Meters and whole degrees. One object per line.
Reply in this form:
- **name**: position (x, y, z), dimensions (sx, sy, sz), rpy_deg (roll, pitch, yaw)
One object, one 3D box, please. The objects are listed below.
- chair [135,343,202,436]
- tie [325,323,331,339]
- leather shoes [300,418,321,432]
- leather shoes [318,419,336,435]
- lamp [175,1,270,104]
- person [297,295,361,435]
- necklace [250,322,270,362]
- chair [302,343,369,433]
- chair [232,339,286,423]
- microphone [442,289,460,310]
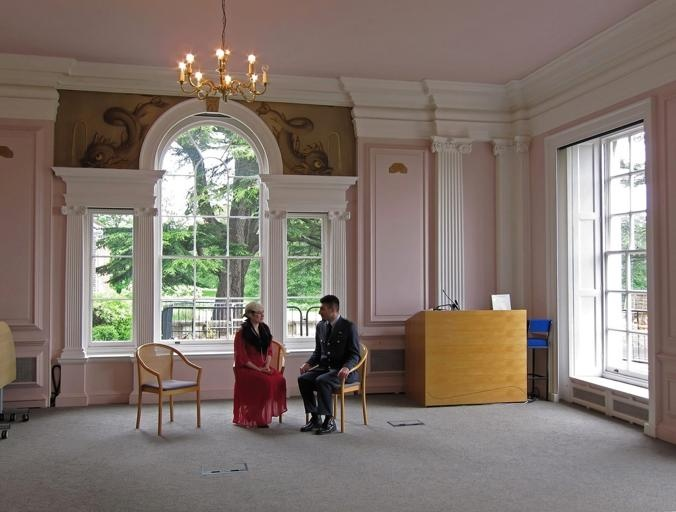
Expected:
- **chair**: position (-1.946, 1.456, 6.440), dimensions (0.556, 0.964, 0.628), rpy_deg (-6, -7, 37)
- **tie**: position (-0.116, 0.849, 6.521), dimensions (0.090, 0.124, 0.036), rpy_deg (-1, -11, 30)
- **leather shoes**: position (-0.299, 1.850, 6.250), dimensions (0.097, 0.113, 0.240), rpy_deg (-9, -13, 43)
- **leather shoes**: position (-0.125, 1.827, 6.174), dimensions (0.219, 0.152, 0.119), rpy_deg (1, -2, -12)
- **lamp**: position (-1.319, -2.326, 6.464), dimensions (1.017, 1.419, 1.046), rpy_deg (1, -4, -14)
- **person**: position (-0.107, 1.180, 6.389), dimensions (0.661, 1.449, 0.546), rpy_deg (0, -2, 14)
- **necklace**: position (-0.896, 0.970, 6.622), dimensions (0.224, 0.318, 0.132), rpy_deg (1, -13, -42)
- **chair**: position (0.043, 1.481, 6.538), dimensions (0.481, 0.796, 0.523), rpy_deg (3, -9, -32)
- **chair**: position (-0.904, 1.410, 6.603), dimensions (0.570, 0.981, 0.688), rpy_deg (2, -2, 17)
- **microphone**: position (1.533, 0.591, 7.782), dimensions (0.256, 0.287, 0.755), rpy_deg (0, -2, 12)
